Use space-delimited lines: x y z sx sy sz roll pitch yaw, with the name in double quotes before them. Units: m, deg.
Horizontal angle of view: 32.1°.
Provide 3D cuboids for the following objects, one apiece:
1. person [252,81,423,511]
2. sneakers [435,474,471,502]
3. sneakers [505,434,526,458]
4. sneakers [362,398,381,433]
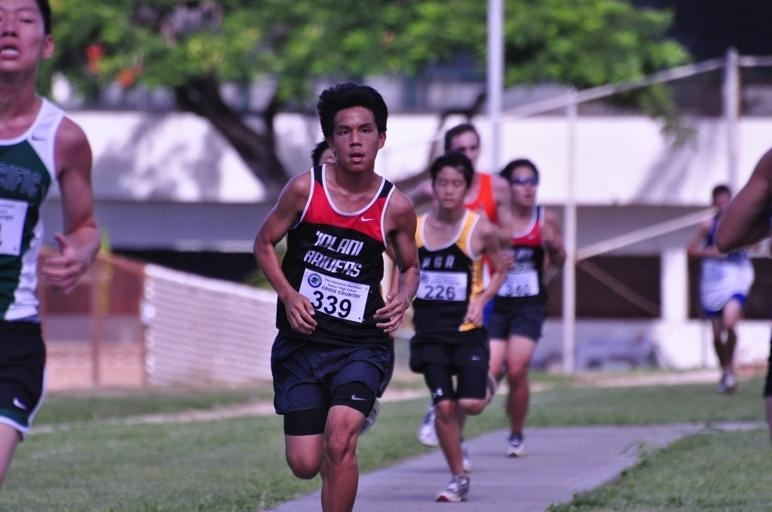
"person" -0.340 0.289 9.836 1.172 3.130 0.464 1 -1 1
"sneakers" 0.562 1.875 10.798 0.259 0.208 0.166 1 -1 0
"sneakers" 1.163 1.675 11.761 0.158 0.150 0.372 -1 -11 4
"sneakers" -0.089 1.206 10.036 0.195 0.208 0.235 0 36 6
